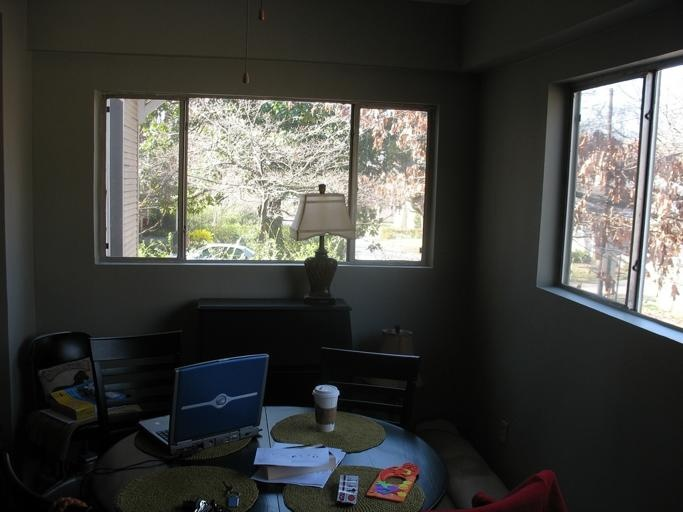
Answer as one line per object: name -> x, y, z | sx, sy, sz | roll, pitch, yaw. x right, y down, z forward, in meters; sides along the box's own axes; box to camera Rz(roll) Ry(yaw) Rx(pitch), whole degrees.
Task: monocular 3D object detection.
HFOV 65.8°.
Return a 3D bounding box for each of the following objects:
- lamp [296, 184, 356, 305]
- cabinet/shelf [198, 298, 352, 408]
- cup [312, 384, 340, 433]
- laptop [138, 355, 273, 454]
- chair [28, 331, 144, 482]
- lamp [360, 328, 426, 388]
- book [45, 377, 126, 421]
lamp -> -0.154, -0.095, 4.240 | 0.492, 0.945, 0.490 | 0, 8, -8
cabinet/shelf -> -0.451, 0.681, 3.639 | 0.753, 0.730, 0.301 | 1, 4, -5
cup -> -0.082, 0.824, 2.844 | 0.157, 0.199, 0.158 | 3, -3, 0
laptop -> -0.745, 0.733, 2.797 | 0.509, 0.452, 0.536 | -1, 2, -43
chair -> -1.930, 1.117, 3.896 | 0.656, 0.947, 0.682 | 4, 4, -25
lamp -> 0.440, 0.809, 4.294 | 0.441, 0.500, 0.491 | 2, -5, -12
book -> -1.872, 1.042, 3.926 | 0.460, 0.127, 0.510 | 8, 8, 24
